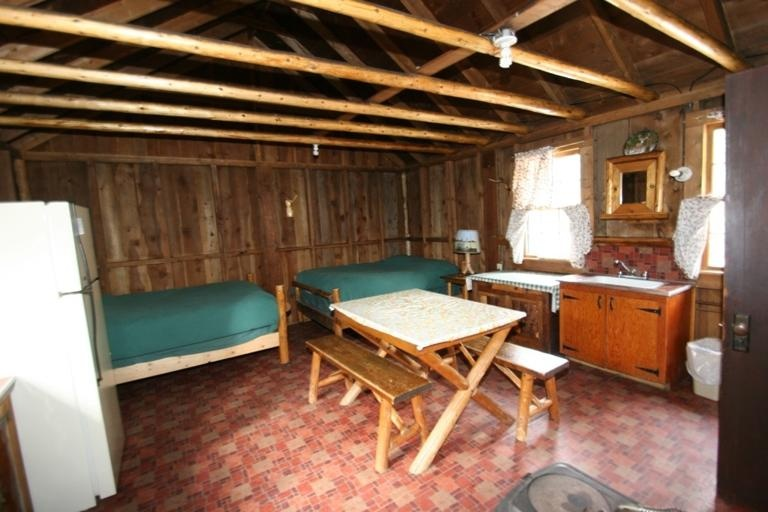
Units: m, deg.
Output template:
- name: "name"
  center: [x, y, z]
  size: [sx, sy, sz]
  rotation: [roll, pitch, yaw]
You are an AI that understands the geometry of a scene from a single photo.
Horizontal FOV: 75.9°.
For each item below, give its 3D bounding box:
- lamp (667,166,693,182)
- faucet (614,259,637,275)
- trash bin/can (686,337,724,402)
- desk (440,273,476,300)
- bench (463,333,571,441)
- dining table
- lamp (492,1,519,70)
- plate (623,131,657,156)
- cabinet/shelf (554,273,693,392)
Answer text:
- name: "lamp"
  center: [3.608, -0.985, 5.935]
  size: [0.055, 0.179, 0.229]
  rotation: [-1, 7, -45]
- name: "faucet"
  center: [3.156, 0.143, 6.453]
  size: [0.266, 0.198, 0.137]
  rotation: [1, 9, 35]
- name: "trash bin/can"
  center: [3.735, 1.305, 5.704]
  size: [0.370, 0.646, 0.397]
  rotation: [3, 11, 44]
- name: "desk"
  center: [1.193, 0.494, 7.931]
  size: [0.508, 0.365, 0.459]
  rotation: [0, 3, 27]
- name: "bench"
  center: [1.428, 1.468, 5.636]
  size: [0.677, 0.740, 1.278]
  rotation: [-11, 12, -39]
- name: "dining table"
  center: [0.384, 1.119, 5.672]
  size: [1.580, 0.976, 1.670]
  rotation: [-4, 12, -37]
- name: "lamp"
  center: [1.281, -2.198, 5.214]
  size: [0.237, 0.404, 0.445]
  rotation: [-3, 7, 12]
- name: "plate"
  center: [3.281, -1.453, 6.270]
  size: [0.227, 0.332, 0.349]
  rotation: [-7, 8, -16]
- name: "cabinet/shelf"
  center: [3.002, 0.916, 6.177]
  size: [1.255, 1.238, 0.545]
  rotation: [3, 11, 44]
